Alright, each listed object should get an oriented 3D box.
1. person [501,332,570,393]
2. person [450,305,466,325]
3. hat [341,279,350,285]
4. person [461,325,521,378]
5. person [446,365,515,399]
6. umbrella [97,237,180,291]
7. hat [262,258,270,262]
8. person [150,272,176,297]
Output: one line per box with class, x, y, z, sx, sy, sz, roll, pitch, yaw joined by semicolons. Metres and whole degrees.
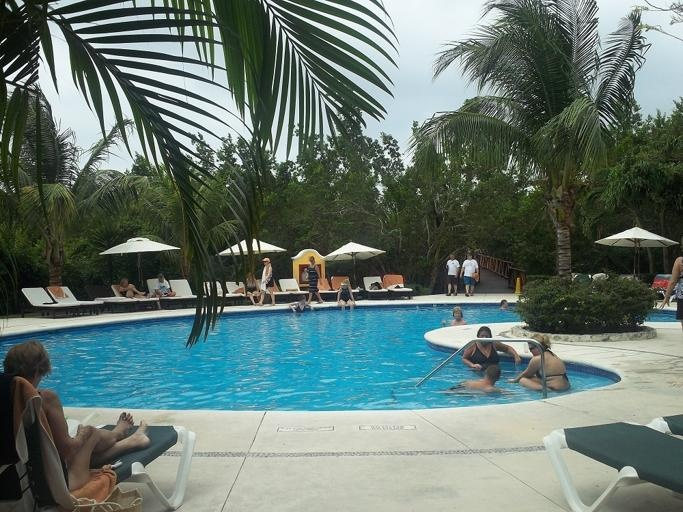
person;2.996;1.663;8.259;0.660;1.022;0.941;2;-2;-31
person;3.503;1.792;16.058;0.491;0.856;0.553;-2;-14;6
hat;0.155;1.075;21.856;0.277;0.287;0.216;-2;-5;25
person;2.768;1.795;9.866;0.612;0.826;0.421;-6;-28;-4
person;2.271;2.085;8.750;1.000;0.521;0.427;-3;-3;-12
umbrella;-8.786;0.345;22.689;1.953;1.446;2.127;-2;-3;5
hat;-3.373;0.168;23.774;0.242;0.126;0.361;1;-4;4
person;-7.158;1.178;21.394;0.888;1.021;0.801;-1;3;-39
